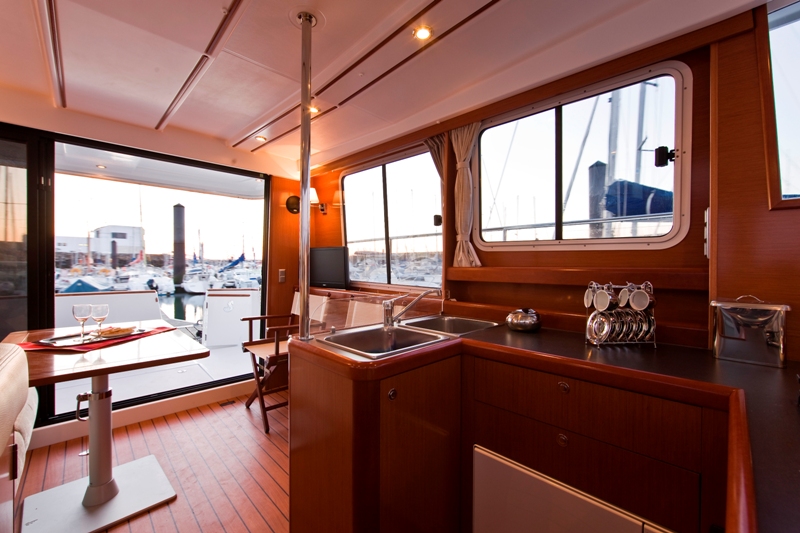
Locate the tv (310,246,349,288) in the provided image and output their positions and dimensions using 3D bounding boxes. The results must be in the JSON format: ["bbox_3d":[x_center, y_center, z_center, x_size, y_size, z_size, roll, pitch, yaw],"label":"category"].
[{"bbox_3d":[-0.848,0.022,5.729,0.054,0.433,0.582,-2,-2,36],"label":"tv"}]

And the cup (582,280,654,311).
[{"bbox_3d":[1.483,0.204,3.556,0.213,0.165,0.356,-6,1,-41],"label":"cup"}]

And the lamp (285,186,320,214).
[{"bbox_3d":[-1.064,-0.739,5.931,0.335,0.280,0.529,0,4,28],"label":"lamp"}]

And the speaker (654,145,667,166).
[{"bbox_3d":[1.825,-0.761,3.640,0.084,0.144,0.024,-1,3,26],"label":"speaker"}]

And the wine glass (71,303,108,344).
[{"bbox_3d":[-2.388,0.445,3.983,0.275,0.324,0.141,2,-5,-36],"label":"wine glass"}]

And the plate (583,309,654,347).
[{"bbox_3d":[1.481,0.407,3.513,0.439,0.226,0.109,-2,3,-3],"label":"plate"}]
